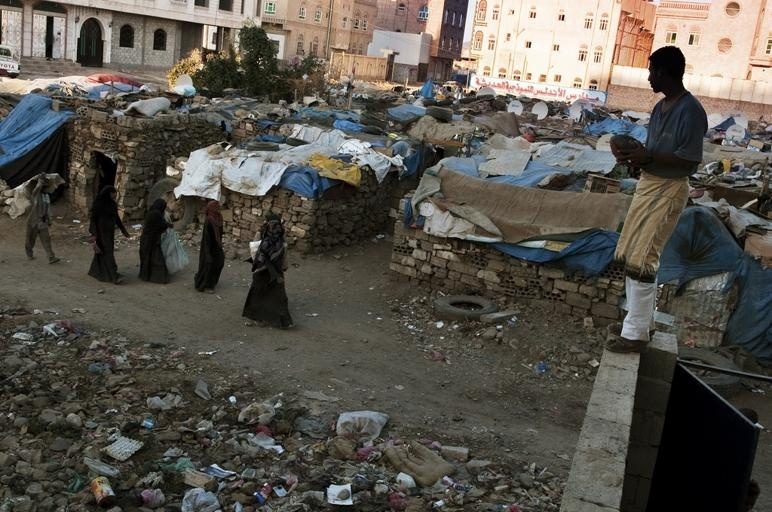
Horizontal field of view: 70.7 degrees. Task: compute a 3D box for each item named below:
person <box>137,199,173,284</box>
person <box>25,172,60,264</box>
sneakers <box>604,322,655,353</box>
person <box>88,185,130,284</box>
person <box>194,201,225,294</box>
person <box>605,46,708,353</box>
[{"bbox_3d":[-4.782,-0.270,11.346,0.597,1.718,0.474,2,14,-21],"label":"person"},{"bbox_3d":[-7.557,-0.782,11.980,0.613,1.945,0.987,-2,15,-33],"label":"person"},{"bbox_3d":[2.506,0.828,5.499,0.615,0.229,0.226,5,26,1],"label":"sneakers"},{"bbox_3d":[-5.670,-0.408,11.081,0.664,1.905,0.766,0,15,-26],"label":"person"},{"bbox_3d":[-3.606,-0.168,11.206,0.541,1.812,0.607,3,14,-18],"label":"person"},{"bbox_3d":[2.511,-0.473,5.222,0.661,2.915,0.661,17,16,35],"label":"person"}]
